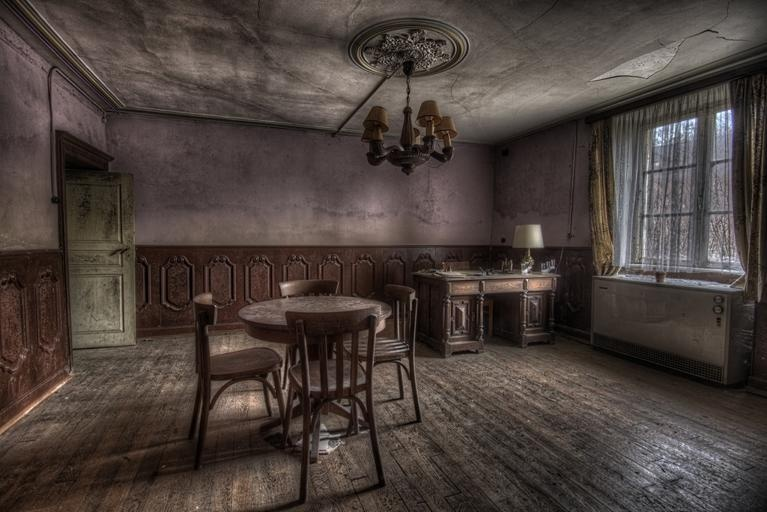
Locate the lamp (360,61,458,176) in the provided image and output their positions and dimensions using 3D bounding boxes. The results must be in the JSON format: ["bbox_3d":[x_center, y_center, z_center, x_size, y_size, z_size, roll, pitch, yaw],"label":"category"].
[{"bbox_3d":[0.274,-1.711,5.850,0.932,1.380,1.035,-6,-11,30],"label":"lamp"}]

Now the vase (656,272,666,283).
[{"bbox_3d":[3.281,0.247,5.781,0.107,0.091,0.110,-2,3,-9],"label":"vase"}]

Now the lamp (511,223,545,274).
[{"bbox_3d":[1.999,-0.111,6.774,0.395,0.670,0.406,4,7,40],"label":"lamp"}]

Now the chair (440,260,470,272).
[{"bbox_3d":[1.213,0.140,8.063,0.415,0.290,0.214,1,-4,-20],"label":"chair"}]

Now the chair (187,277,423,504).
[{"bbox_3d":[-0.650,1.153,4.544,2.132,1.409,1.273,-3,1,-16],"label":"chair"}]

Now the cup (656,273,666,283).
[{"bbox_3d":[3.287,0.237,5.791,0.101,0.123,0.118,-3,1,25],"label":"cup"}]

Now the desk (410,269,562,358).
[{"bbox_3d":[1.394,0.696,6.694,1.742,1.071,0.679,-3,1,-16],"label":"desk"}]
